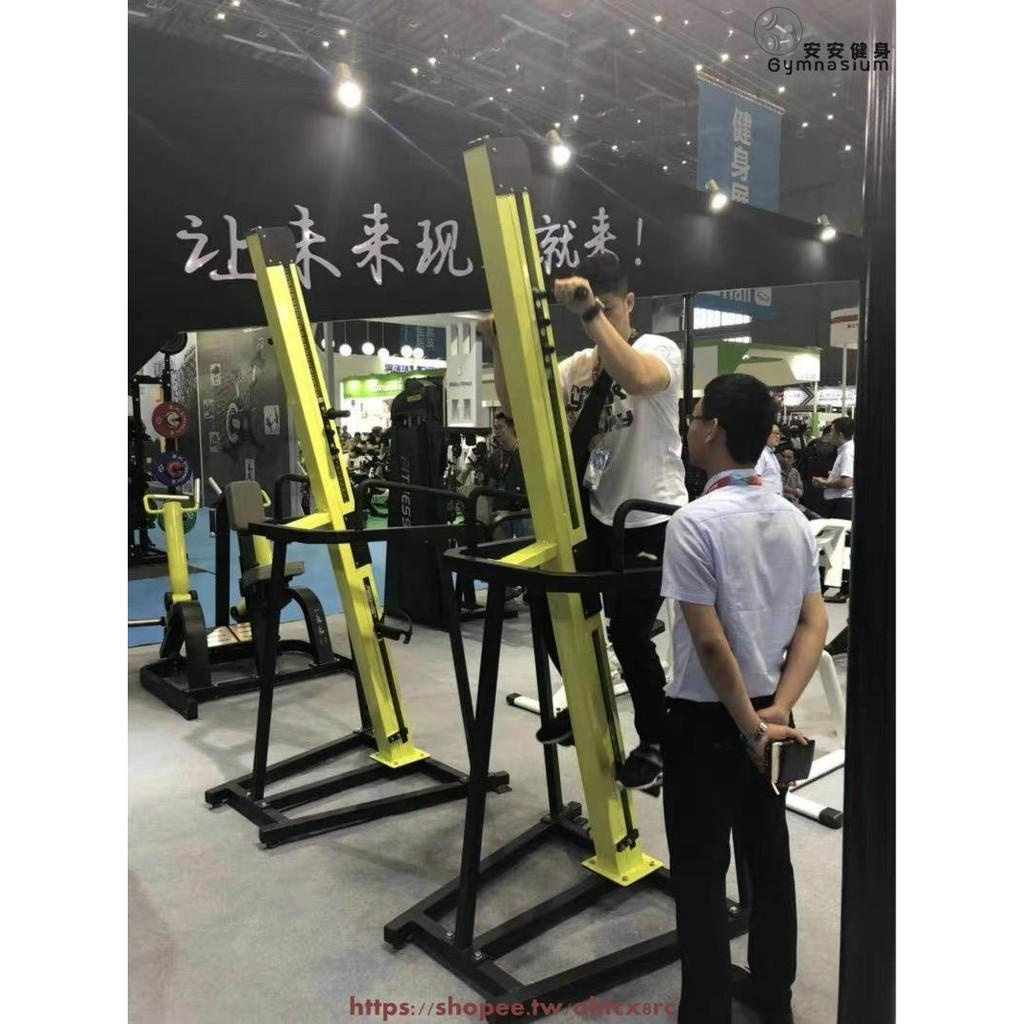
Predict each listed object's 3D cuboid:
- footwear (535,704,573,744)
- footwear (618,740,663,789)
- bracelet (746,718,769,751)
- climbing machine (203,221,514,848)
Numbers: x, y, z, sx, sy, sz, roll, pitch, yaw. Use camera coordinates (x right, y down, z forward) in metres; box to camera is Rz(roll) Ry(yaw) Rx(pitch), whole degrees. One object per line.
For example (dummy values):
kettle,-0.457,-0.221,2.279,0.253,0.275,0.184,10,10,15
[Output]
footwear,0.127,0.576,2.415,0.055,0.066,0.156,-3,-8,39
footwear,0.321,0.632,2.240,0.079,0.073,0.170,-3,-11,23
bracelet,0.461,0.417,1.714,0.023,0.059,0.044,3,-11,18
climbing machine,-0.625,0.174,3.222,0.785,2.180,0.875,-2,11,-34
